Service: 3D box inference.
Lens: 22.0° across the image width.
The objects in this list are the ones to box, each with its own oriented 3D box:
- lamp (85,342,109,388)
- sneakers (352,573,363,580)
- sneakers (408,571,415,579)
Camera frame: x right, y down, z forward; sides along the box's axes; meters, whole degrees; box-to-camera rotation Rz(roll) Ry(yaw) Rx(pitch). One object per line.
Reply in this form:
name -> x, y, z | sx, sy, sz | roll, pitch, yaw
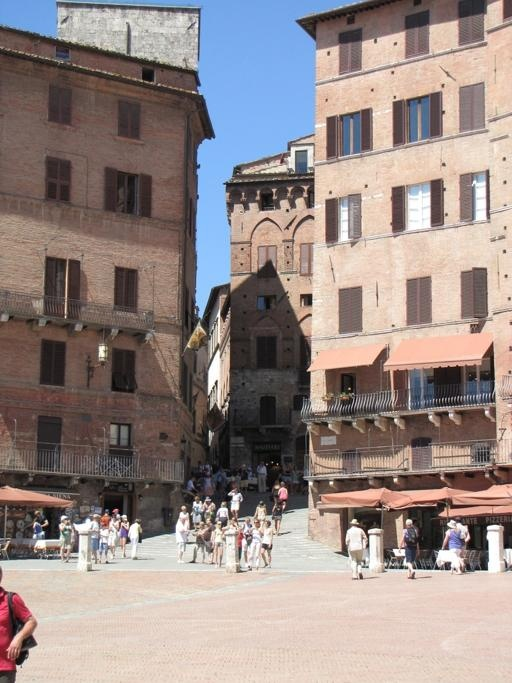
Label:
lamp -> -5.995, 0.934, 48.962 | 0.816, 1.739, 0.345 | -9, -19, 20
sneakers -> 2.470, 5.686, 31.930 | 0.248, 0.145, 0.542 | -2, -11, 3
sneakers -> 3.799, 5.640, 31.937 | 0.157, 0.223, 0.285 | 2, -19, -4
